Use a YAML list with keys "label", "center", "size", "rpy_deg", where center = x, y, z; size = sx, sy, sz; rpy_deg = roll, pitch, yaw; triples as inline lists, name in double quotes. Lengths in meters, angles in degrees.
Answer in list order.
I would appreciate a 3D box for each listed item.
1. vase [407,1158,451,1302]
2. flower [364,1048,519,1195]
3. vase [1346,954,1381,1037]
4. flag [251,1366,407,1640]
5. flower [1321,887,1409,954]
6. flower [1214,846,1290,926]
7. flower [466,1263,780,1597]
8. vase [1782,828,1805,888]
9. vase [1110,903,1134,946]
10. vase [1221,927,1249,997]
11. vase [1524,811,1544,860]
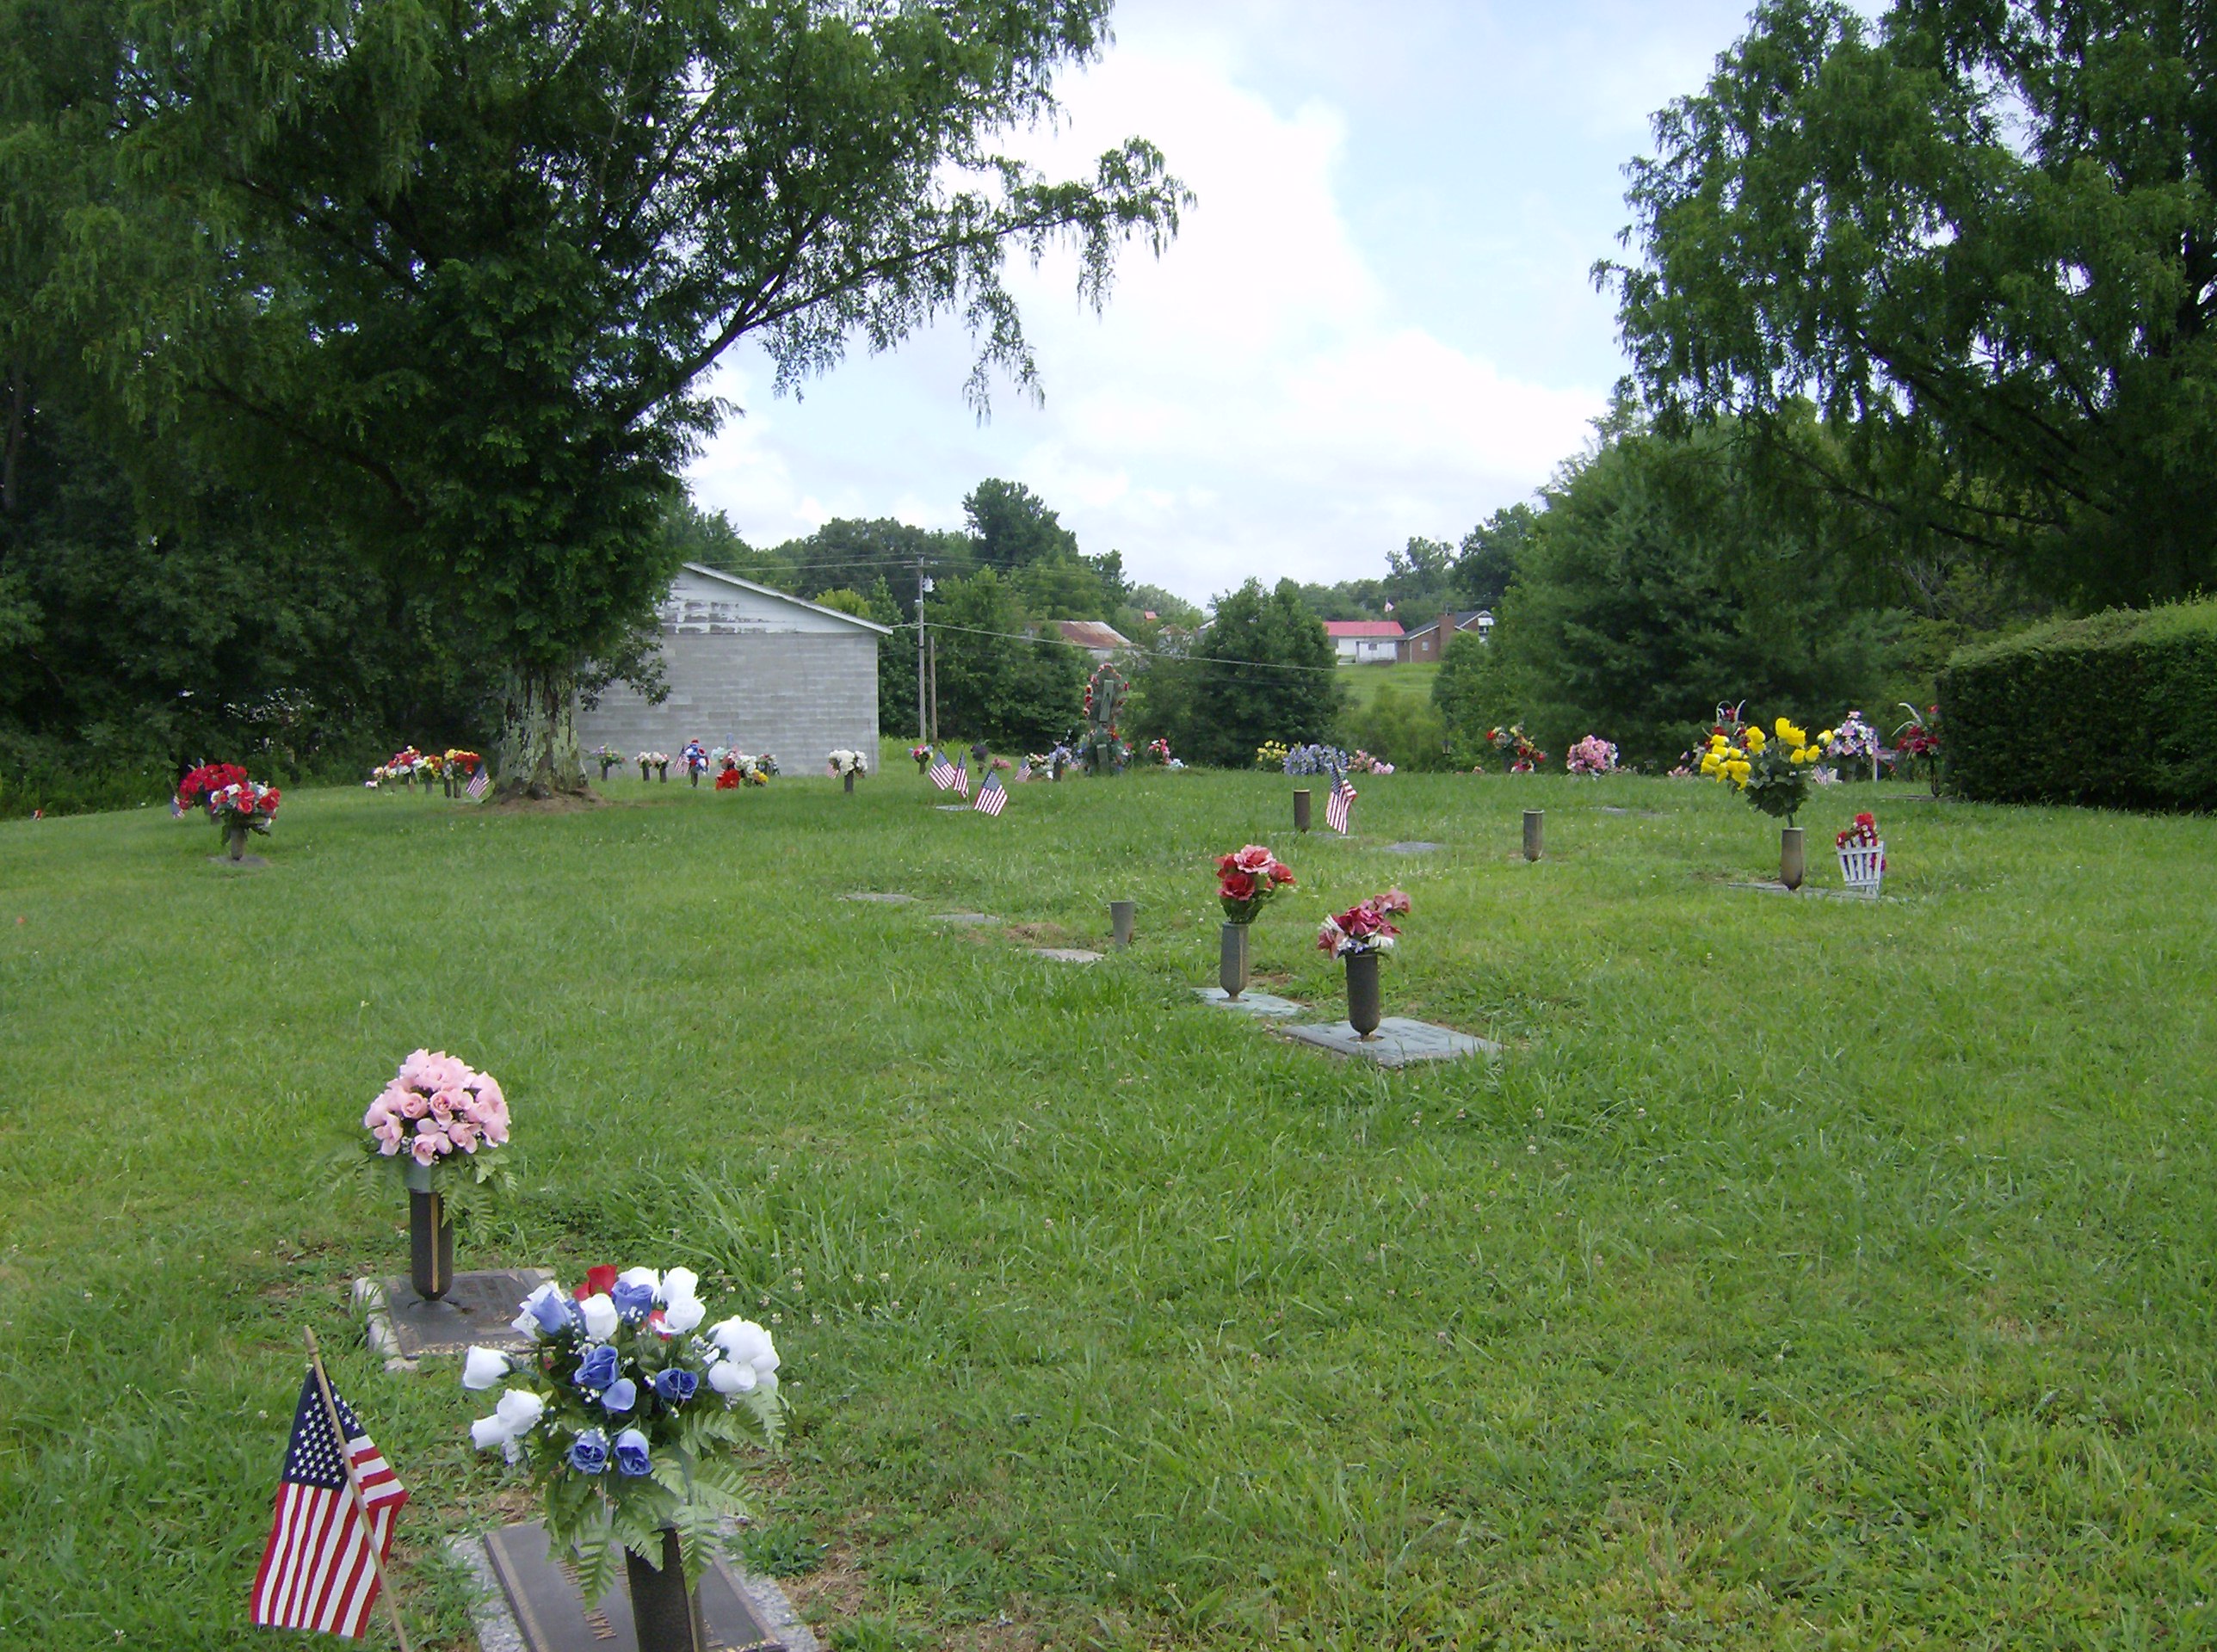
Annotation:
- label: "vase"
  center: [-3.600, 2.123, 10.406]
  size: [0.229, 0.718, 0.180]
  rpy_deg: [2, 2, -9]
- label: "flower"
  center: [-3.657, 1.576, 10.725]
  size: [0.703, 0.773, 0.761]
  rpy_deg: [20, 18, 31]
- label: "vase"
  center: [1.845, 1.207, 14.345]
  size: [0.213, 0.636, 0.139]
  rpy_deg: [3, 2, -2]
- label: "flag"
  center: [-3.099, 2.649, 7.815]
  size: [0.552, 1.164, 0.339]
  rpy_deg: [2, 2, -15]
- label: "flower"
  center: [1.904, 0.699, 14.493]
  size: [0.459, 0.329, 0.552]
  rpy_deg: [-19, 8, 25]
- label: "flower"
  center: [1.113, 0.410, 15.930]
  size: [0.626, 0.698, 0.624]
  rpy_deg: [-7, 10, -41]
- label: "flower"
  center: [-1.946, 2.456, 8.020]
  size: [1.110, 1.327, 1.146]
  rpy_deg: [-6, -5, 19]
- label: "vase"
  center: [6.979, 0.315, 20.084]
  size: [0.218, 0.450, 0.502]
  rpy_deg: [3, 2, 16]
- label: "vase"
  center: [0.124, 0.874, 17.790]
  size: [0.161, 0.423, 0.290]
  rpy_deg: [3, 2, 5]
- label: "vase"
  center: [0.978, 1.062, 15.712]
  size: [0.196, 0.581, 0.318]
  rpy_deg: [3, 2, 3]
- label: "vase"
  center: [4.892, 0.105, 22.715]
  size: [0.223, 0.515, 0.954]
  rpy_deg: [3, 2, 11]
